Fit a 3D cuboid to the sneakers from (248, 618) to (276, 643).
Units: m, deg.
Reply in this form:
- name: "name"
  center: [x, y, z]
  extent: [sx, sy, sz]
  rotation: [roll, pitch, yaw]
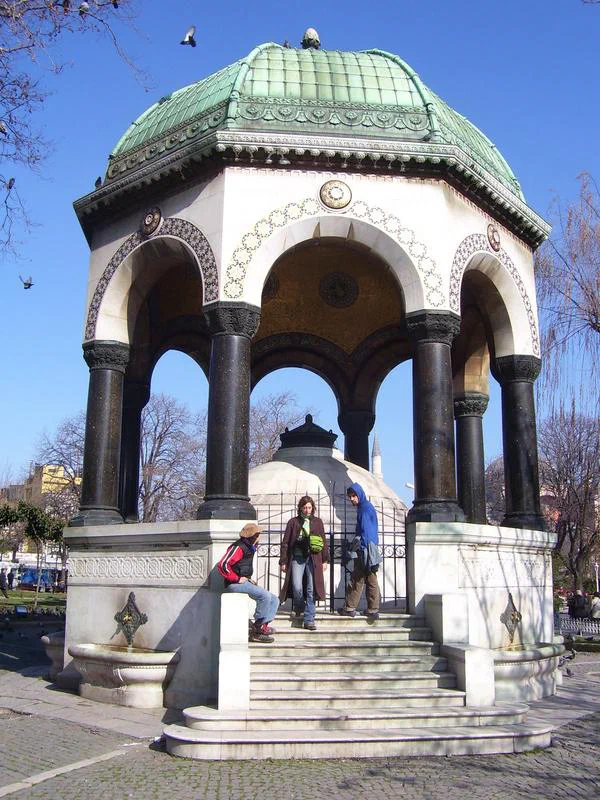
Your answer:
- name: "sneakers"
  center: [-0.498, 2.617, 7.849]
  extent: [0.396, 0.276, 0.133]
  rotation: [-6, -13, 23]

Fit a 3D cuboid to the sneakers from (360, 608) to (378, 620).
- name: "sneakers"
  center: [0.879, 2.709, 8.848]
  extent: [0.093, 0.111, 0.252]
  rotation: [6, -11, -26]

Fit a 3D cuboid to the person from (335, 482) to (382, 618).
- name: "person"
  center: [0.781, 1.975, 9.192]
  extent: [0.502, 1.753, 0.790]
  rotation: [0, -14, 3]

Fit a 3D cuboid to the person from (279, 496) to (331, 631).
- name: "person"
  center: [0.045, 1.988, 8.610]
  extent: [0.595, 1.597, 0.427]
  rotation: [-4, -15, 18]

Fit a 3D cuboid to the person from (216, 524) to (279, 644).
- name: "person"
  center: [-0.595, 2.043, 7.898]
  extent: [0.526, 1.322, 0.849]
  rotation: [-8, -16, 30]

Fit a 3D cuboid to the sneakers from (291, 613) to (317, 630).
- name: "sneakers"
  center: [0.041, 2.687, 8.432]
  extent: [0.110, 0.163, 0.376]
  rotation: [8, -23, -24]

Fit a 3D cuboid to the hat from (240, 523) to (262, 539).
- name: "hat"
  center: [-0.559, 1.471, 7.866]
  extent: [0.213, 0.180, 0.284]
  rotation: [2, -15, -5]

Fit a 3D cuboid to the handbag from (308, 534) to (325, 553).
- name: "handbag"
  center: [0.189, 1.731, 8.417]
  extent: [0.190, 0.198, 0.175]
  rotation: [24, -11, -37]
